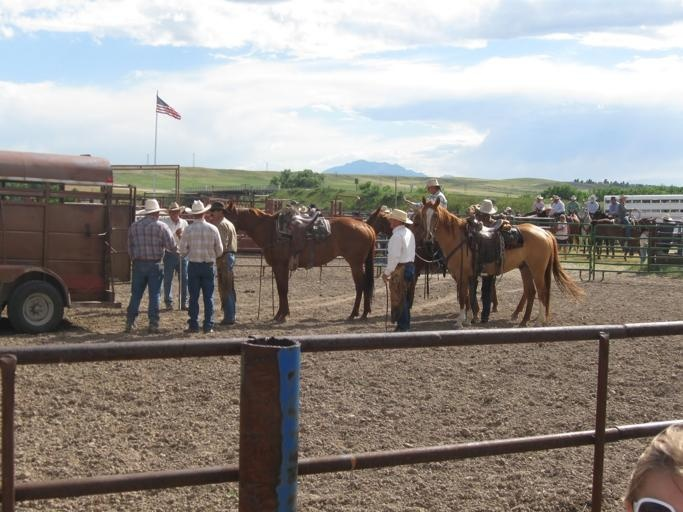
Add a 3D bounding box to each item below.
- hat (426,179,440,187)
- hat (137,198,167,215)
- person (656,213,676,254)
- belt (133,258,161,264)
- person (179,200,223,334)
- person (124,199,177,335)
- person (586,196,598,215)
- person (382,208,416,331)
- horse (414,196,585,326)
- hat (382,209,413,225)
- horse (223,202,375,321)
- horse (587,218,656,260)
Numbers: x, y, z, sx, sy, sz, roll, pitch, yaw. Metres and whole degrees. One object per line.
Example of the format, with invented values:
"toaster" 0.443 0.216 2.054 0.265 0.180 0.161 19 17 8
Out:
"hat" 1.703 -1.362 16.305 0.168 0.116 0.203 -2 0 26
"hat" -3.060 -0.804 14.428 0.508 0.283 0.598 4 8 34
"person" 9.521 -0.528 25.671 0.584 0.933 3.184 1 3 20
"belt" -3.084 0.071 13.880 0.415 0.071 0.104 -1 3 -13
"person" -2.286 0.144 14.289 0.704 2.070 1.277 0 2 -8
"person" -3.054 0.136 14.067 0.812 2.089 0.847 0 2 -12
"person" 8.796 -1.949 30.726 0.337 1.032 0.512 2 -3 1
"person" 0.925 0.233 13.898 0.383 1.935 0.653 1 2 13
"horse" 2.663 0.162 15.247 2.919 2.299 0.756 2 14 3
"hat" 0.923 -0.626 13.903 0.316 0.113 0.295 24 5 9
"horse" -0.657 0.122 15.900 2.520 1.971 1.358 0 2 1
"horse" 9.244 -0.673 28.647 2.050 1.340 0.500 5 -5 4
